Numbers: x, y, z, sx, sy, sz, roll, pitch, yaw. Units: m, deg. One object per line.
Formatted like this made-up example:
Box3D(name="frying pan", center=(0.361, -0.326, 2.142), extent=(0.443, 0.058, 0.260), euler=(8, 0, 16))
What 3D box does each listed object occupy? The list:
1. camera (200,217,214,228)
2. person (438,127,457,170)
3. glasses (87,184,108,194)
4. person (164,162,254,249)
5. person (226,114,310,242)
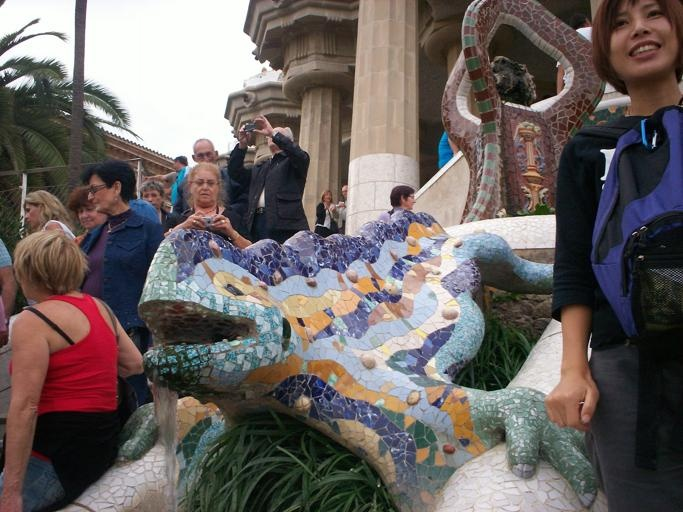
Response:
Box3D(name="camera", center=(-0.793, -0.197, 3.396), extent=(0.041, 0.057, 0.080), euler=(-2, -2, 9))
Box3D(name="person", center=(2.060, -1.953, 11.247), extent=(0.306, 0.933, 1.926), euler=(-1, -6, 11))
Box3D(name="glasses", center=(-1.751, -0.480, 4.121), extent=(0.081, 0.026, 0.078), euler=(-15, 3, -43))
Box3D(name="person", center=(-1.054, -0.276, 4.423), extent=(0.534, 0.838, 0.465), euler=(-1, 2, -24))
Box3D(name="person", center=(-0.700, -0.438, 5.635), extent=(0.762, 1.680, 0.671), euler=(-9, -17, 18))
